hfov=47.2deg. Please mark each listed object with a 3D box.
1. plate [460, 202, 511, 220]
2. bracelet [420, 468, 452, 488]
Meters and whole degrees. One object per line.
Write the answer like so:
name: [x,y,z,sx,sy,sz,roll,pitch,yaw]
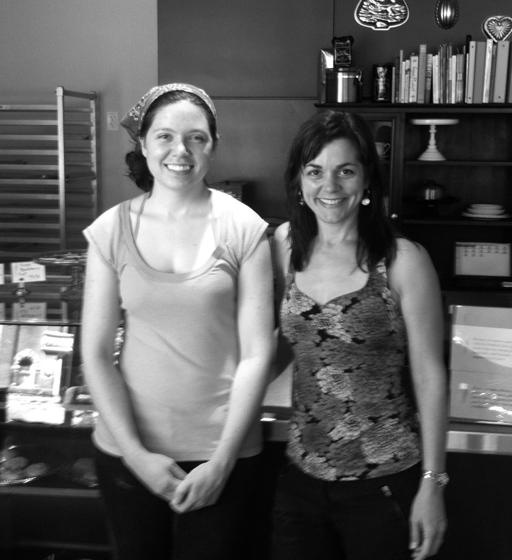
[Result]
plate: [1.586,-0.467,4.028,0.292,0.105,0.250,2,7,18]
bracelet: [0.336,0.361,1.088,0.044,0.023,0.033,6,0,41]
